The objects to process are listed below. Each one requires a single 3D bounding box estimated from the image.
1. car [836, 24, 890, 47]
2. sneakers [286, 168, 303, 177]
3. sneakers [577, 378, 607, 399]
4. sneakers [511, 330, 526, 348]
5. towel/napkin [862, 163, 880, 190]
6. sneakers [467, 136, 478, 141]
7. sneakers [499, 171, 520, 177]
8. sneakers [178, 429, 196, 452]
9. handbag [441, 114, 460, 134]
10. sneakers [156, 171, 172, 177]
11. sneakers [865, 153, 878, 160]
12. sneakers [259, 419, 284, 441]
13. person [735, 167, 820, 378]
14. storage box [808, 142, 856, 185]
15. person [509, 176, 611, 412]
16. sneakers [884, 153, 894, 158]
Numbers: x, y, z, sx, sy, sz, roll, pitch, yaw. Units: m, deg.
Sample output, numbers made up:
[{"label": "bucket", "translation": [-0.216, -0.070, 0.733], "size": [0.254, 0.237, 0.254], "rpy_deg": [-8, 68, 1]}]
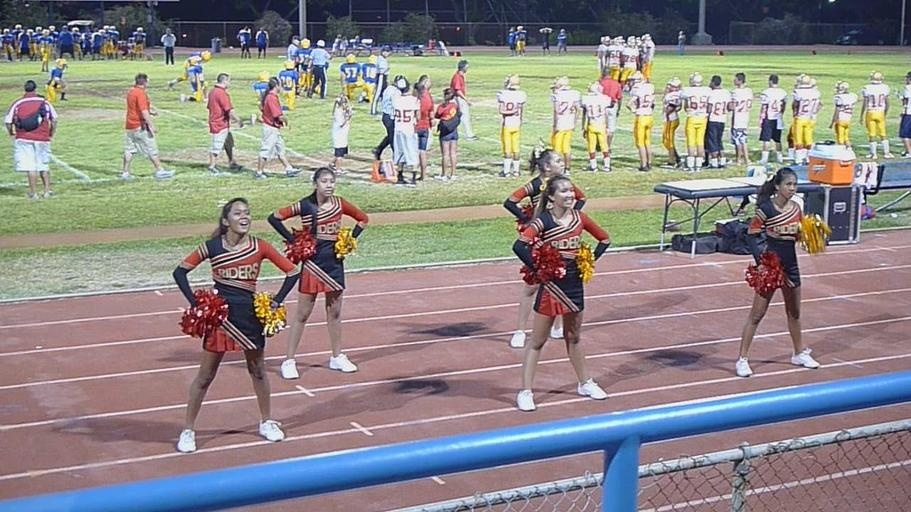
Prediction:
[{"label": "car", "translation": [37.481, -20.518, 80.037], "size": [4.507, 1.208, 2.330], "rpy_deg": [-2, 9, -10]}, {"label": "sneakers", "translation": [-4.211, -2.237, 23.095], "size": [0.208, 0.198, 0.529], "rpy_deg": [14, 19, 39]}, {"label": "sneakers", "translation": [1.769, 1.741, 11.278], "size": [0.408, 0.168, 0.216], "rpy_deg": [8, 14, 30]}, {"label": "sneakers", "translation": [0.946, 1.248, 12.869], "size": [0.188, 0.123, 0.302], "rpy_deg": [0, 4, 4]}, {"label": "towel/napkin", "translation": [8.700, -1.647, 18.242], "size": [0.533, 0.576, 0.261], "rpy_deg": [2, 1, -19]}, {"label": "sneakers", "translation": [0.623, -3.857, 28.497], "size": [0.396, 0.149, 0.142], "rpy_deg": [-4, 16, -11]}, {"label": "sneakers", "translation": [1.495, -2.191, 23.392], "size": [0.456, 0.148, 0.201], "rpy_deg": [2, 9, 0]}, {"label": "sneakers", "translation": [-3.151, 2.190, 10.257], "size": [0.162, 0.152, 0.362], "rpy_deg": [0, 13, -13]}, {"label": "handbag", "translation": [-0.117, -3.300, 21.900], "size": [0.547, 0.527, 0.458], "rpy_deg": [-1, 12, -2]}, {"label": "sneakers", "translation": [-7.637, -2.153, 22.818], "size": [0.502, 0.192, 0.166], "rpy_deg": [-4, 10, -3]}, {"label": "sneakers", "translation": [12.298, -2.930, 25.596], "size": [0.187, 0.167, 0.442], "rpy_deg": [-5, 11, -15]}, {"label": "sneakers", "translation": [-2.188, 2.115, 10.452], "size": [0.331, 0.125, 0.207], "rpy_deg": [12, 16, 44]}, {"label": "person", "translation": [4.417, 0.236, 11.728], "size": [0.889, 2.819, 1.169], "rpy_deg": [10, 17, 41]}, {"label": "storage box", "translation": [7.704, -1.871, 17.712], "size": [0.660, 0.682, 0.875], "rpy_deg": [-1, 11, -14]}, {"label": "person", "translation": [1.299, 0.495, 10.839], "size": [1.128, 2.938, 0.753], "rpy_deg": [-11, 16, -38]}, {"label": "sneakers", "translation": [12.821, -2.955, 25.687], "size": [0.195, 0.195, 0.579], "rpy_deg": [7, 12, 42]}]
